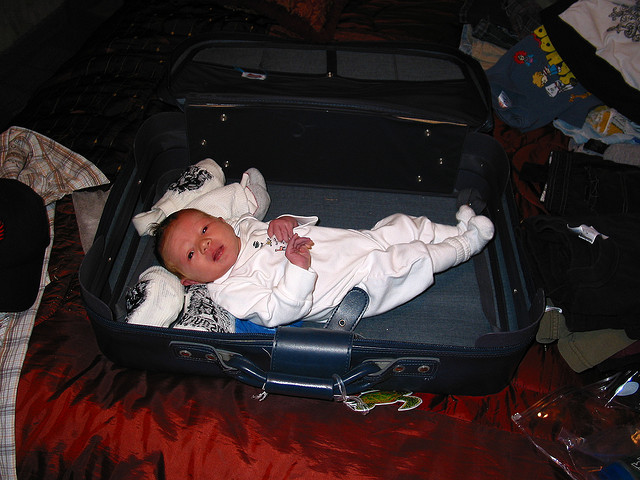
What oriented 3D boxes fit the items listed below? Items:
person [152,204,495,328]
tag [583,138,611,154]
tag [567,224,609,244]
[{"bbox_3d":[-0.003,0.041,1.863,1.262,0.410,0.493,3,34,-11],"label":"person"},{"bbox_3d":[1.216,-0.414,2.149,0.096,0.021,0.064,17,77,15],"label":"tag"},{"bbox_3d":[0.977,-0.026,1.787,0.067,0.028,0.082,-28,55,-28],"label":"tag"}]
